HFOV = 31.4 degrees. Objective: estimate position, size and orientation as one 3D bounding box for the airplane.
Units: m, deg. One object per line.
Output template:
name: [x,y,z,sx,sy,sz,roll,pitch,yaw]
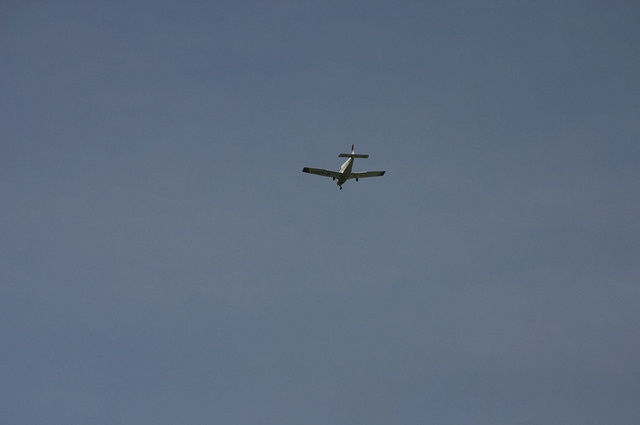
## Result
airplane: [3.203,-5.543,123.949,8.958,2.019,6.035,3,-30,-19]
